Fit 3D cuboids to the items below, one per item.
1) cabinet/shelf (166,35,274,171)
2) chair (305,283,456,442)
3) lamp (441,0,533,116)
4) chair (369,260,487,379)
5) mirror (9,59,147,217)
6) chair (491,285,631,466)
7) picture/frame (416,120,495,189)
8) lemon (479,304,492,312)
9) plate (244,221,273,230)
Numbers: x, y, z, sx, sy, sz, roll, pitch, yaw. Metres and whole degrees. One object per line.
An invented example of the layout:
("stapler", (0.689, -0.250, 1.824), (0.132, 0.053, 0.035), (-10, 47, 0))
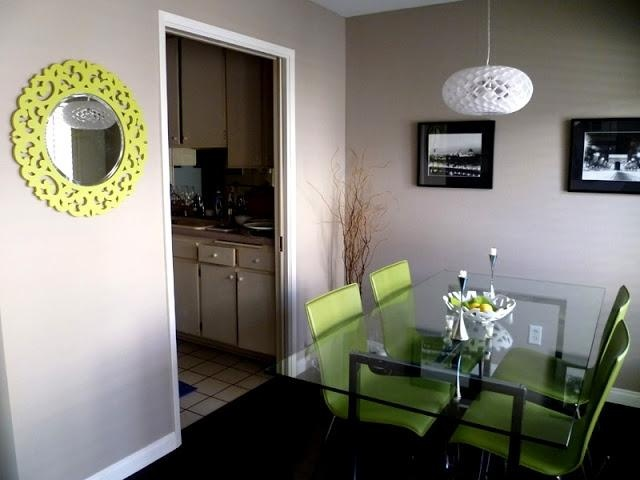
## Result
("cabinet/shelf", (-0.852, -1.233, 4.168), (1.254, 1.299, 0.505), (4, 5, 36))
("chair", (0.311, 0.596, 2.513), (0.820, 0.811, 0.641), (6, 12, 34))
("lamp", (0.882, -0.900, 2.540), (0.342, 0.585, 0.363), (4, 10, 25))
("chair", (0.558, 0.430, 2.822), (0.460, 0.760, 0.371), (5, 15, 36))
("mirror", (-1.288, -0.542, 2.522), (0.018, 0.829, 0.752), (7, 11, 34))
("chair", (1.065, 0.589, 2.281), (0.486, 0.828, 0.529), (-15, 20, -43))
("picture/frame", (1.134, -0.709, 3.932), (0.512, 0.537, 0.040), (3, 8, 29))
("lemon", (0.933, 0.381, 2.705), (0.037, 0.029, 0.049), (4, 14, 19))
("plate", (-0.542, -0.133, 4.278), (0.256, 0.033, 0.499), (-2, 14, -6))
